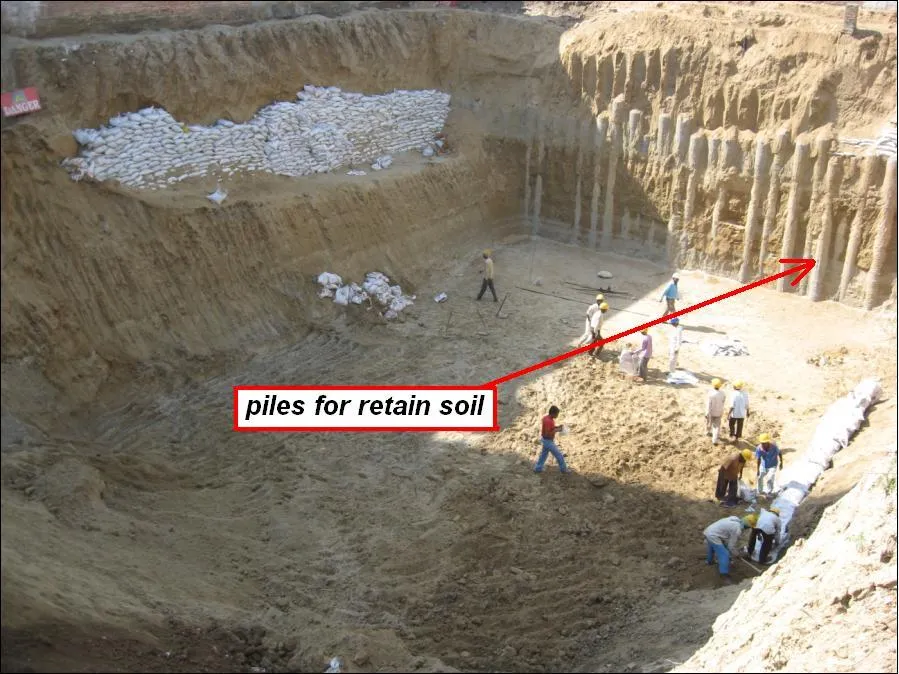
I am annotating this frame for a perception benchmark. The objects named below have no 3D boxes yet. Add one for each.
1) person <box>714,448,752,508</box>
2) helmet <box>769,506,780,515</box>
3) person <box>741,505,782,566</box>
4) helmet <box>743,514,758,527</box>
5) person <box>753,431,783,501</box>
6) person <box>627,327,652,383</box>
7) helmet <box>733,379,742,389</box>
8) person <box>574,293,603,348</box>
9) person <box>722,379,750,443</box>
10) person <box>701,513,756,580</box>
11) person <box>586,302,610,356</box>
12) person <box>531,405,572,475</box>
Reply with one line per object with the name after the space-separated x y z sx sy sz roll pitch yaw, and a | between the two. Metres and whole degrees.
5.266 2.578 19.055 0.546 1.183 0.466 -4 24 1 | person
5.753 3.071 18.047 0.097 0.123 0.130 -44 7 8 | helmet
5.581 3.435 17.962 0.492 0.930 0.431 15 11 21 | person
5.319 3.227 18.027 0.316 0.142 0.397 0 17 8 | helmet
6.066 2.281 19.368 0.479 1.265 0.946 3 24 16 | person
4.203 0.353 22.314 0.351 1.125 0.593 -1 23 8 | person
5.865 0.956 20.814 0.148 0.123 0.104 -31 50 3 | helmet
3.225 -0.332 23.757 0.599 1.361 0.354 13 65 -1 | person
5.785 1.393 20.483 0.340 1.341 0.728 3 24 15 | person
4.871 3.562 18.131 0.561 0.972 1.083 7 24 24 | person
3.352 -0.128 23.189 0.528 1.204 0.556 -7 62 4 | person
1.969 1.815 20.146 0.649 1.486 1.252 -2 22 4 | person
